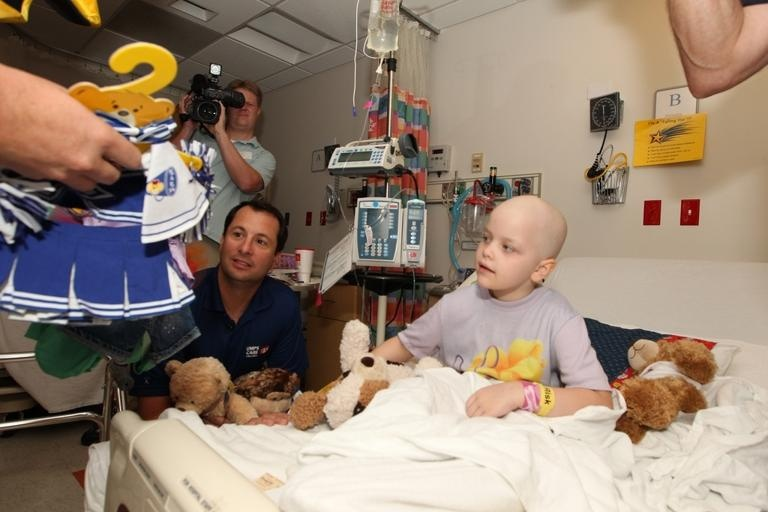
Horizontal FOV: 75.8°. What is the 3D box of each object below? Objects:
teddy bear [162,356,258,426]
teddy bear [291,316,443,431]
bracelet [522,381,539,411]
[{"bbox_3d":[-0.594,0.461,1.653,0.201,0.144,0.196,23,-16,33],"label":"teddy bear"},{"bbox_3d":[-0.058,0.471,1.631,0.369,0.156,0.363,-37,20,-18],"label":"teddy bear"},{"bbox_3d":[0.428,0.414,1.431,0.051,0.067,0.026,3,-13,-6],"label":"bracelet"}]
